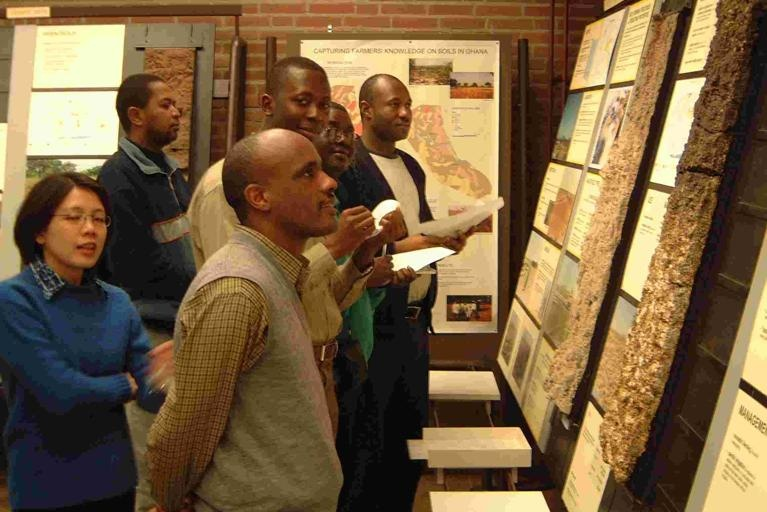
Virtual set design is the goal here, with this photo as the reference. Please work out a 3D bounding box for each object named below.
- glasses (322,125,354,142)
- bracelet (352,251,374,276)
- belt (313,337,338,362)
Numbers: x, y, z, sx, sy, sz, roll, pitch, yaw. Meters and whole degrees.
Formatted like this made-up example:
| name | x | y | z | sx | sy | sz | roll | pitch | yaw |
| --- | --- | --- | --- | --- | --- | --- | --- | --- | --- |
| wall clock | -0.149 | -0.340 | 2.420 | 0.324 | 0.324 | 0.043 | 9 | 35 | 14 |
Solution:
| name | x | y | z | sx | sy | sz | roll | pitch | yaw |
| --- | --- | --- | --- | --- | --- | --- | --- | --- | --- |
| glasses | -0.217 | -0.549 | 2.652 | 0.092 | 0.023 | 0.084 | 1 | -11 | -17 |
| bracelet | -0.095 | 0.035 | 2.535 | 0.088 | 0.078 | 0.105 | 5 | -1 | 32 |
| belt | -0.235 | 0.382 | 2.336 | 0.086 | 0.040 | 0.079 | -8 | 7 | -4 |
